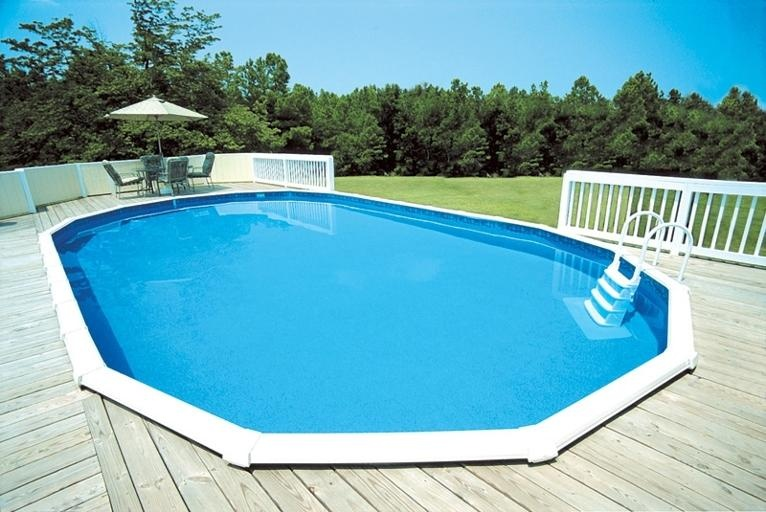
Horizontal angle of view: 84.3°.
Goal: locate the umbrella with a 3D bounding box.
[{"bbox_3d":[-6.923,-3.859,12.610,2.489,1.791,2.014,15,22,39],"label":"umbrella"}]
